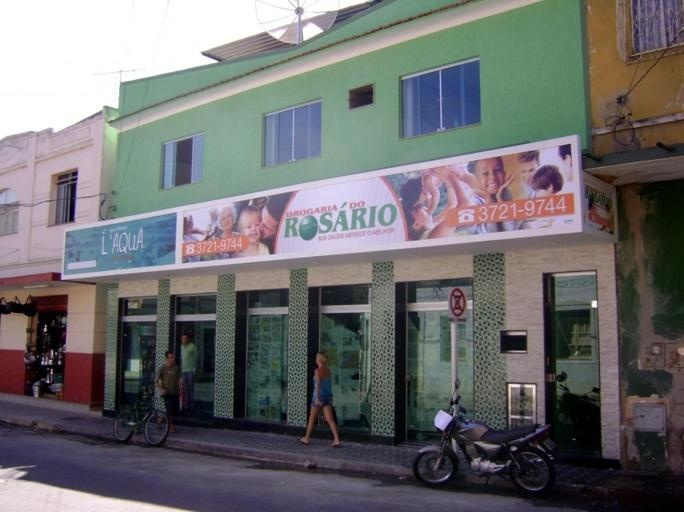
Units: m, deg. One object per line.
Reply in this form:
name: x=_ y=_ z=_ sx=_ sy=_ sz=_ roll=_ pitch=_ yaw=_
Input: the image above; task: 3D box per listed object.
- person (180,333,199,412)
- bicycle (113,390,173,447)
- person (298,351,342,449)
person: x=-4.453 y=3.328 z=19.569 sx=0.444 sy=2.194 sz=0.659 roll=1 pitch=-11 yaw=-14
bicycle: x=-4.962 y=3.985 z=16.817 sx=1.860 sy=1.264 sz=0.778 roll=-3 pitch=-14 yaw=31
person: x=-0.506 y=3.425 z=16.258 sx=0.898 sy=2.233 sz=1.249 roll=-1 pitch=-11 yaw=-1
